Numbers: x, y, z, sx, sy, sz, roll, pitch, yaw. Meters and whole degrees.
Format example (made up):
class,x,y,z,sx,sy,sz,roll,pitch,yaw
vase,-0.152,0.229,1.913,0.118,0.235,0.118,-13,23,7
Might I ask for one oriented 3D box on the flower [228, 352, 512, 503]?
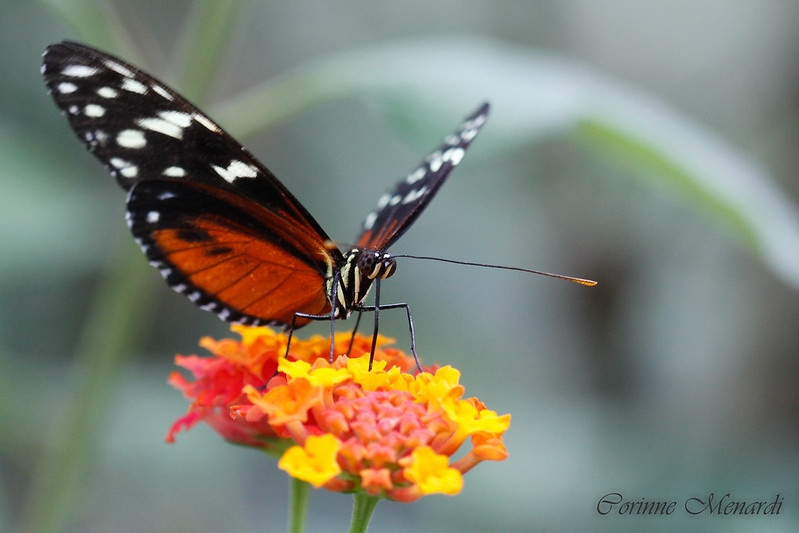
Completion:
class,x,y,z,sx,sy,sz,roll,pitch,yaw
flower,-0.037,0.315,1.507,0.495,0.197,0.325,-2,39,-13

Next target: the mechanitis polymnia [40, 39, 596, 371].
class,x,y,z,sx,sy,sz,roll,pitch,yaw
mechanitis polymnia,-0.368,-0.127,1.713,0.813,0.535,0.898,3,-5,45
